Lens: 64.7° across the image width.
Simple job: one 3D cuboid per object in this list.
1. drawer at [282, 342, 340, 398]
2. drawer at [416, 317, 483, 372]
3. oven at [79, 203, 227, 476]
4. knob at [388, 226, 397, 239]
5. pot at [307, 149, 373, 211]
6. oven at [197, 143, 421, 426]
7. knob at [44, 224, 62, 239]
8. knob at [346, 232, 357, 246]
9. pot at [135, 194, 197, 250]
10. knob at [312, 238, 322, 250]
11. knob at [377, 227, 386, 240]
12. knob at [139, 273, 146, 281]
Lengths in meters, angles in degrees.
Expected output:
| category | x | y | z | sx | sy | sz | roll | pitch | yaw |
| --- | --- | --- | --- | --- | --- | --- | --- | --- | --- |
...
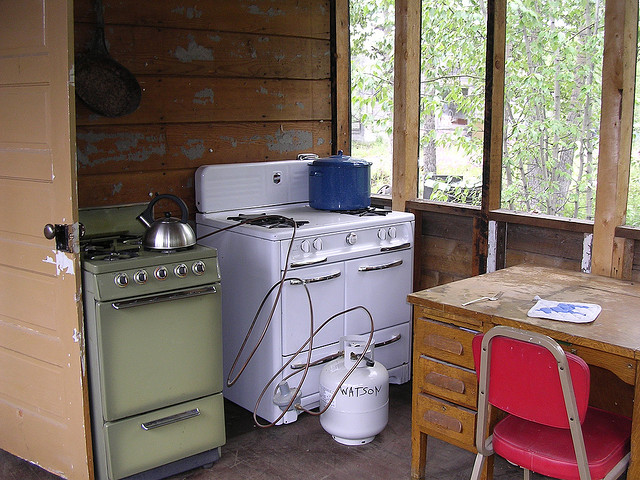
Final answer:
| category | x | y | z | sx | sy | sz | roll | pitch | yaw |
| --- | --- | --- | --- | --- | --- | --- | --- | --- | --- |
| drawer | -0.068 | 0.751 | 2.955 | 0.405 | 0.274 | 0.253 | -8 | 9 | -42 |
| drawer | 0.645 | 0.467 | 2.399 | 0.351 | 0.219 | 0.240 | 8 | 7 | 37 |
| oven | -0.869 | 0.491 | 2.622 | 0.645 | 1.208 | 0.592 | -7 | 14 | -26 |
| knob | 0.463 | -0.048 | 3.210 | 0.047 | 0.068 | 0.016 | 0 | 2 | -20 |
| pot | 0.139 | -0.407 | 3.340 | 0.380 | 0.349 | 0.402 | 0 | 9 | 0 |
| oven | -0.109 | 0.237 | 3.286 | 1.084 | 1.517 | 1.004 | -12 | 17 | -41 |
| knob | -1.173 | -0.036 | 2.218 | 0.090 | 0.059 | 0.020 | 4 | 14 | 21 |
| knob | 0.193 | -0.005 | 3.020 | 0.068 | 0.074 | 0.074 | 9 | 10 | 40 |
| pot | -0.748 | -0.096 | 2.501 | 0.303 | 0.271 | 0.251 | 1 | 6 | 3 |
| knob | -0.010 | 0.024 | 2.885 | 0.044 | 0.060 | 0.014 | 0 | 3 | -26 |
| knob | 0.396 | -0.039 | 3.156 | 0.048 | 0.068 | 0.016 | -2 | -2 | -23 |
| knob | -0.812 | 0.171 | 2.315 | 0.028 | 0.033 | 0.010 | -5 | 13 | -20 |
